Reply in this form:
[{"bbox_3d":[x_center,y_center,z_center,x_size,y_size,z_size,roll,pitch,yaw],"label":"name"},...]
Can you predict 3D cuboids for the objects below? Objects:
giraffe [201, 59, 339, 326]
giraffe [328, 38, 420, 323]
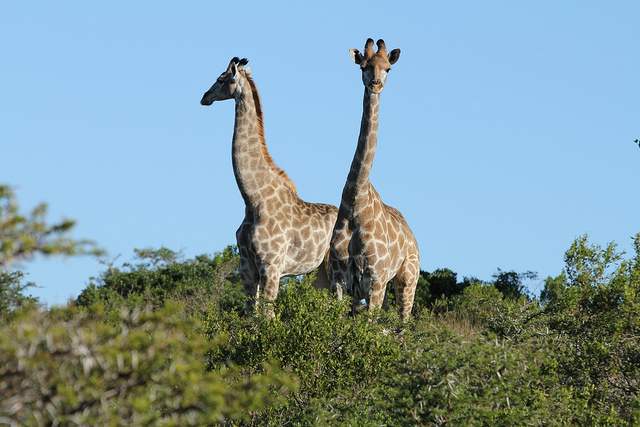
[{"bbox_3d":[-0.989,-0.417,21.146,2.809,4.808,1.242,15,-18,-35],"label":"giraffe"},{"bbox_3d":[1.068,-0.416,19.673,1.487,4.741,3.718,2,-15,7],"label":"giraffe"}]
